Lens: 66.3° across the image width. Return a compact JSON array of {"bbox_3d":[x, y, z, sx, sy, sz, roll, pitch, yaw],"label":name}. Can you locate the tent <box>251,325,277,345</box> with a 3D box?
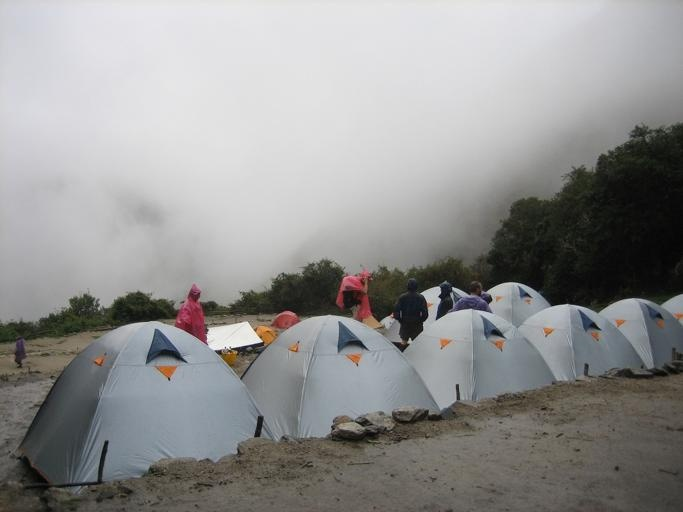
[{"bbox_3d":[-3.123,3.140,20.822,0.930,0.452,1.207,-2,16,-36],"label":"tent"}]

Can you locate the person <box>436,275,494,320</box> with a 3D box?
[{"bbox_3d":[3.234,1.243,14.321,1.222,0.634,1.210,-6,2,-23],"label":"person"}]

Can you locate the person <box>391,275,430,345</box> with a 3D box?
[{"bbox_3d":[2.013,1.804,15.223,0.948,2.625,0.742,1,15,7],"label":"person"}]

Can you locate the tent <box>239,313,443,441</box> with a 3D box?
[{"bbox_3d":[-0.214,2.626,11.305,2.634,1.580,3.124,-1,1,-22],"label":"tent"}]
